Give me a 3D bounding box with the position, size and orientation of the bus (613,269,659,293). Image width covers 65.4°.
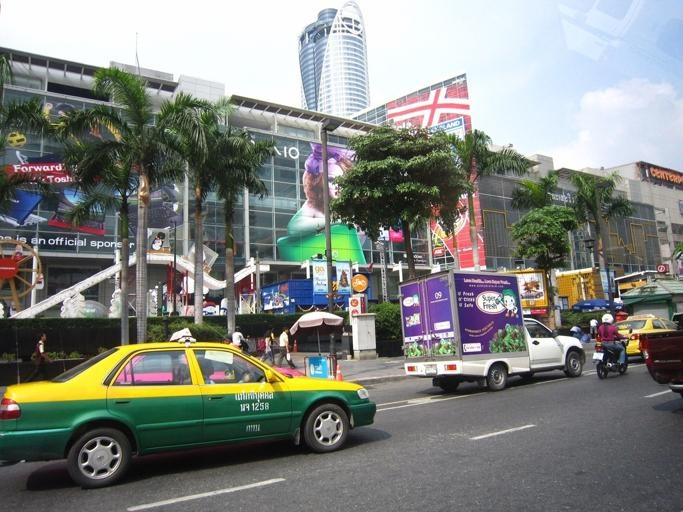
[{"bbox_3d":[31.539,2.762,56.771,3.513,1.895,19.394,-2,-1,29],"label":"bus"}]

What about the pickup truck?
[{"bbox_3d":[5.071,2.515,17.176,6.210,3.475,2.415,3,-14,-34],"label":"pickup truck"}]

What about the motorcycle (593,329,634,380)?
[{"bbox_3d":[8.440,3.163,16.756,1.459,1.086,0.598,-1,-1,-36],"label":"motorcycle"}]

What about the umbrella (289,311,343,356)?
[{"bbox_3d":[-1.131,3.722,26.017,2.000,1.860,2.030,-4,-8,4],"label":"umbrella"}]
